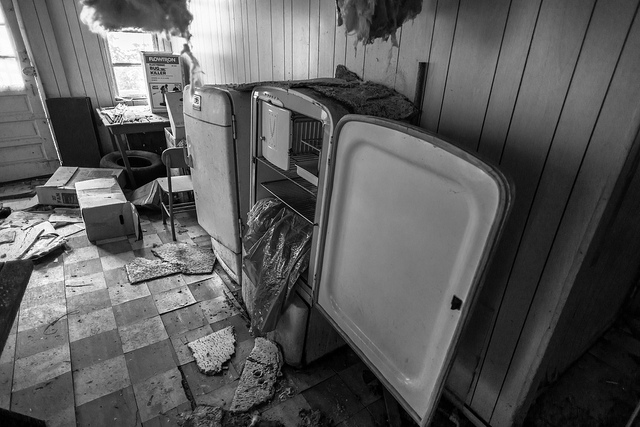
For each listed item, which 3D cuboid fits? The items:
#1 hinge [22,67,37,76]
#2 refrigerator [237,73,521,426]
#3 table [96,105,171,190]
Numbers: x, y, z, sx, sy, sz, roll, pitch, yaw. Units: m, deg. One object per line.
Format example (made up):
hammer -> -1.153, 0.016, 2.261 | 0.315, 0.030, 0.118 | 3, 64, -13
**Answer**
hinge -> -4.043, -1.972, 5.045 | 0.108, 0.112, 0.026 | 2, 24, -17
refrigerator -> 0.386, 0.261, 2.197 | 0.645, 1.840, 1.665 | -14, 42, -35
table -> -2.569, -0.904, 5.003 | 0.858, 0.782, 1.046 | -15, 52, -23
